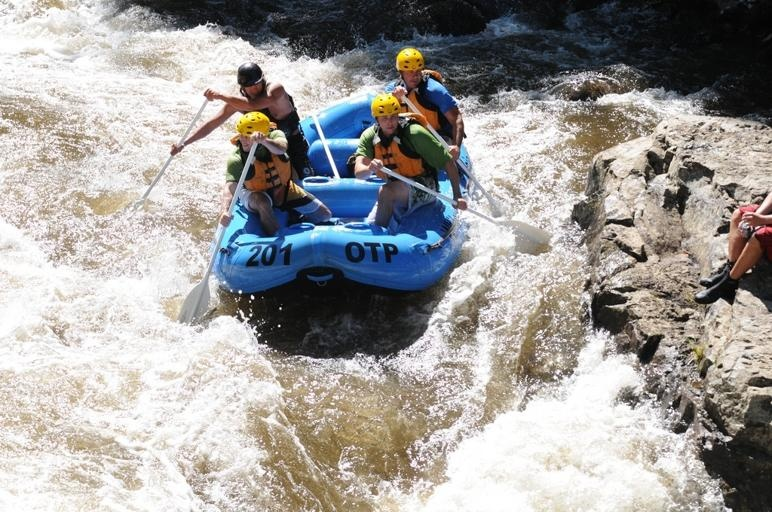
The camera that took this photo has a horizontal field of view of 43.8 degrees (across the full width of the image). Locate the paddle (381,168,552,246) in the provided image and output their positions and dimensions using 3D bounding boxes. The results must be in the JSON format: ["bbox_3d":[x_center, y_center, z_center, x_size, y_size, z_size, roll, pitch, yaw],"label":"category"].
[{"bbox_3d":[1.119,-0.674,14.154,2.314,0.245,0.237,26,24,1],"label":"paddle"}]

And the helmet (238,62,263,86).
[{"bbox_3d":[-1.935,-2.575,13.664,0.278,0.263,0.338,1,56,22],"label":"helmet"}]

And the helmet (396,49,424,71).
[{"bbox_3d":[0.341,-2.884,14.407,0.332,0.443,0.347,-6,75,-10],"label":"helmet"}]

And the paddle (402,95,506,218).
[{"bbox_3d":[0.988,-1.430,14.527,0.199,0.458,2.758,-15,61,-41],"label":"paddle"}]

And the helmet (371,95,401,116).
[{"bbox_3d":[-0.006,-2.084,13.289,0.279,0.362,0.291,-3,17,-4],"label":"helmet"}]

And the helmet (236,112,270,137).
[{"bbox_3d":[-1.811,-1.779,13.261,0.486,0.356,0.450,-5,37,-8],"label":"helmet"}]
